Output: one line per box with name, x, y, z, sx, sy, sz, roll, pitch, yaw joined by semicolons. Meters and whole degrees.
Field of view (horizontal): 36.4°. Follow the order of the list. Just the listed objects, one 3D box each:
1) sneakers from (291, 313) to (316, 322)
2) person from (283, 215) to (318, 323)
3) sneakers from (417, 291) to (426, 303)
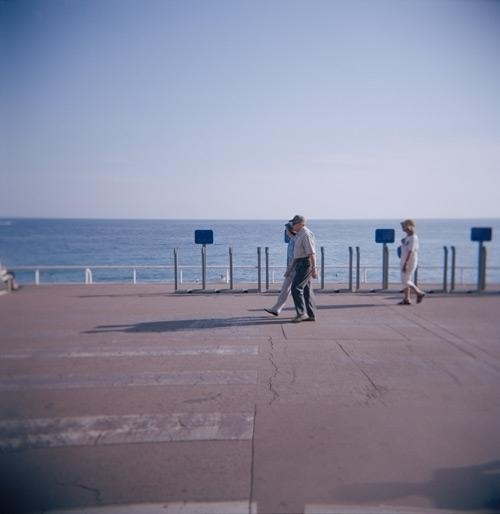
sneakers;0.869;0.972;12.122;0.370;0.160;0.137;2;-1;-16
person;0.862;0.299;11.998;0.405;1.506;0.496;0;8;5
sneakers;3.234;0.764;14.329;0.088;0.224;0.074;1;29;-9
